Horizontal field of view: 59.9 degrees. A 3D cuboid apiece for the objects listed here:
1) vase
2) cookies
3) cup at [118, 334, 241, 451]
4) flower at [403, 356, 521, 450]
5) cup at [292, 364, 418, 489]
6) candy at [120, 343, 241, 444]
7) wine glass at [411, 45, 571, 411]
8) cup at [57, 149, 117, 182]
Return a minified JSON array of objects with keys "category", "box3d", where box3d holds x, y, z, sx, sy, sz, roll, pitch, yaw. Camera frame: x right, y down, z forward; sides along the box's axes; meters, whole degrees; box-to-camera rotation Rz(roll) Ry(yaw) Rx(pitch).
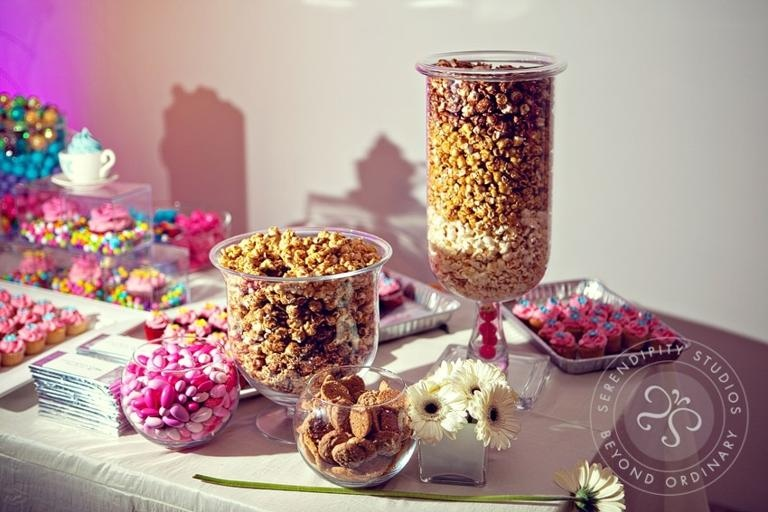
[{"category":"vase","box3d":[0.146,0.405,1.474,0.135,0.132,0.136,0,2,5]},{"category":"cookies","box3d":[-0.064,0.326,1.344,0.224,0.174,0.227,0,10,4]},{"category":"cup","box3d":[-0.465,0.337,1.564,0.266,0.190,0.274,-7,2,0]},{"category":"flower","box3d":[0.166,0.311,1.415,0.233,0.144,0.148,3,19,6]},{"category":"cup","box3d":[-0.067,0.347,1.437,0.235,0.180,0.243,-1,12,0]},{"category":"candy","box3d":[-0.442,0.298,1.462,0.219,0.164,0.222,-6,12,-26]},{"category":"wine glass","box3d":[0.250,-0.080,1.668,0.366,0.812,0.322,5,19,14]},{"category":"cup","box3d":[-0.919,-0.285,2.064,0.137,0.080,0.108,5,13,21]}]
